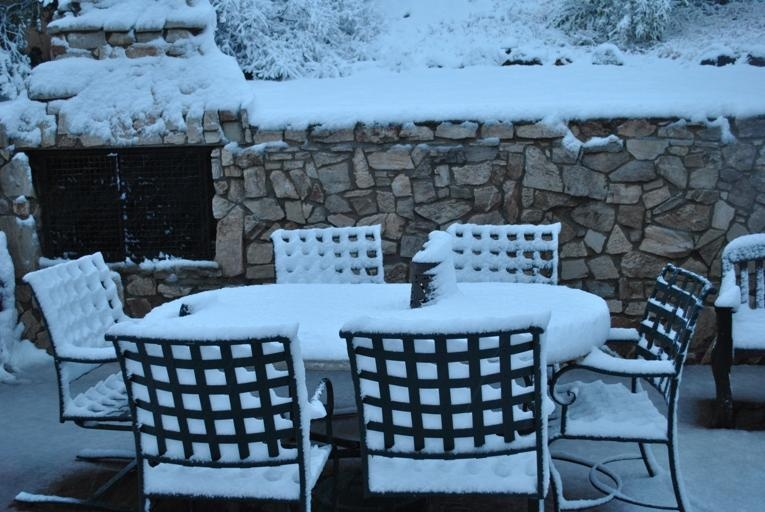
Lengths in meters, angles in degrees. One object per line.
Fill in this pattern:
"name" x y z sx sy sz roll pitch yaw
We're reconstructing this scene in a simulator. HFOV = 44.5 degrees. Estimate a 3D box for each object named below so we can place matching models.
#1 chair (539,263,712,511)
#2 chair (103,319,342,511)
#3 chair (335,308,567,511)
"chair" 1.818 0.759 7.274 1.456 2.298 1.504 1 7 11
"chair" -0.981 0.940 6.500 1.076 1.754 1.248 1 8 5
"chair" 0.486 0.911 6.291 0.997 1.537 1.313 -2 9 7
